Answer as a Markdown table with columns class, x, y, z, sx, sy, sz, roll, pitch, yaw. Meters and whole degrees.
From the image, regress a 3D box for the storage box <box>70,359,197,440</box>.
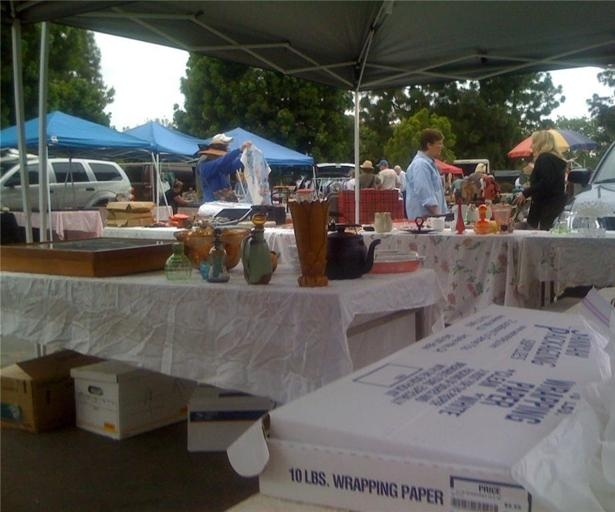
| class | x | y | z | sx | sy | sz | roll | pitch | yaw |
| --- | --- | --- | --- | --- | --- | --- | --- | --- | --- |
| storage box | -0.961 | 0.729 | 3.024 | 0.546 | 0.399 | 0.455 | 6 | 4 | 33 |

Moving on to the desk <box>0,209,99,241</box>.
| class | x | y | z | sx | sy | sz | roll | pitch | yaw |
| --- | --- | --- | --- | --- | --- | --- | --- | --- | --- |
| desk | -3.476 | -0.430 | 7.823 | 0.579 | 0.419 | 2.321 | -4 | 6 | 2 |

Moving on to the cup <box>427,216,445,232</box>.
| class | x | y | z | sx | sy | sz | roll | pitch | yaw |
| --- | --- | --- | --- | --- | --- | --- | --- | --- | --- |
| cup | 1.073 | -0.266 | 4.661 | 0.150 | 0.131 | 0.122 | 3 | 4 | 32 |

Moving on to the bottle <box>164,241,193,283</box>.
| class | x | y | z | sx | sy | sz | roll | pitch | yaw |
| --- | --- | --- | --- | --- | --- | --- | --- | --- | --- |
| bottle | -0.495 | 0.019 | 2.156 | 0.113 | 0.201 | 0.130 | -1 | 3 | -9 |

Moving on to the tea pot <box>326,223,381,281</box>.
| class | x | y | z | sx | sy | sz | roll | pitch | yaw |
| --- | --- | --- | --- | --- | --- | --- | --- | --- | --- |
| tea pot | 0.175 | -0.013 | 2.170 | 0.199 | 0.160 | 0.145 | -4 | 4 | 20 |

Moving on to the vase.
| class | x | y | z | sx | sy | sz | roll | pitch | yaw |
| --- | --- | --- | --- | --- | --- | --- | --- | --- | --- |
| vase | 0.019 | -0.041 | 1.915 | 0.129 | 0.303 | 0.143 | -4 | 5 | -6 |

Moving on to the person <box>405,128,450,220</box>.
| class | x | y | z | sx | sy | sz | roll | pitch | yaw |
| --- | --- | --- | --- | --- | --- | --- | --- | --- | --- |
| person | 1.135 | -0.767 | 5.268 | 0.376 | 0.835 | 0.437 | -3 | 5 | 8 |

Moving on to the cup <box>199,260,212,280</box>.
| class | x | y | z | sx | sy | sz | roll | pitch | yaw |
| --- | --- | --- | --- | --- | --- | --- | --- | --- | --- |
| cup | -0.397 | 0.050 | 2.190 | 0.060 | 0.086 | 0.066 | 2 | 10 | 0 |

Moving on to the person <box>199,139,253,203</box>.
| class | x | y | z | sx | sy | sz | roll | pitch | yaw |
| --- | --- | --- | --- | --- | --- | --- | --- | --- | --- |
| person | -0.890 | -0.977 | 5.987 | 0.499 | 0.758 | 0.919 | -5 | 5 | -15 |
